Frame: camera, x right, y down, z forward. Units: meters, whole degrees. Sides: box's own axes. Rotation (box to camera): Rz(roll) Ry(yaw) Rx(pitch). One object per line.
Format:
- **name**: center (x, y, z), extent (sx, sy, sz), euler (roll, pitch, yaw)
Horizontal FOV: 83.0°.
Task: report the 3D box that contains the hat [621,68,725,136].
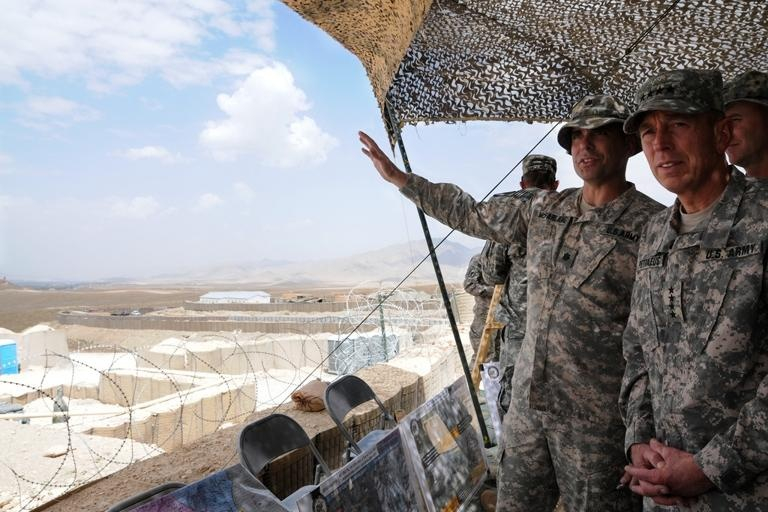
- **hat**: center (1.160, -0.615, 1.772), extent (0.319, 0.151, 0.242), euler (1, 2, -18)
